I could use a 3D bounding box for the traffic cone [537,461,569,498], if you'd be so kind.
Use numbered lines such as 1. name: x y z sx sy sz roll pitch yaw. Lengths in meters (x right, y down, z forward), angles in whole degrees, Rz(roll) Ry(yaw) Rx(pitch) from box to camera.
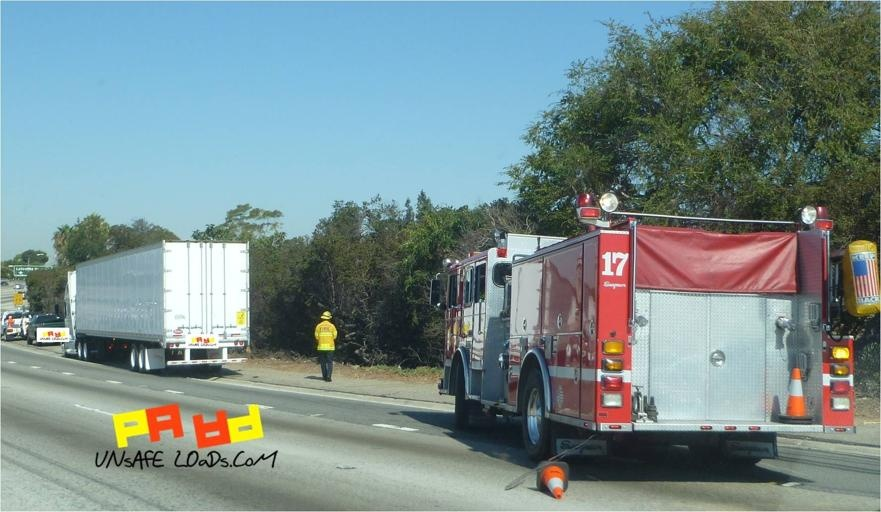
1. traffic cone: 2.809 5.491 27.196 0.666 0.528 0.755 1 21 -10

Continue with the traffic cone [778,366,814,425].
1. traffic cone: 8.916 3.450 27.744 0.615 1.267 0.461 2 7 17
